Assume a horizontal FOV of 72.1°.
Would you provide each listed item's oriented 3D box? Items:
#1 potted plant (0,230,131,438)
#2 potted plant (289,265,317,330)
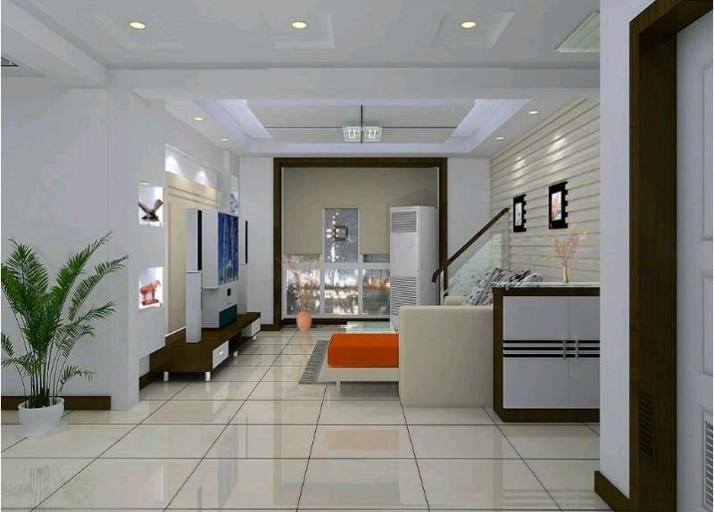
[{"bbox_3d":[-3.067,0.730,5.299,1.615,2.204,1.374,1,-2,-26],"label":"potted plant"},{"bbox_3d":[-1.002,0.749,9.014,0.562,1.042,0.932,-1,7,-5],"label":"potted plant"}]
